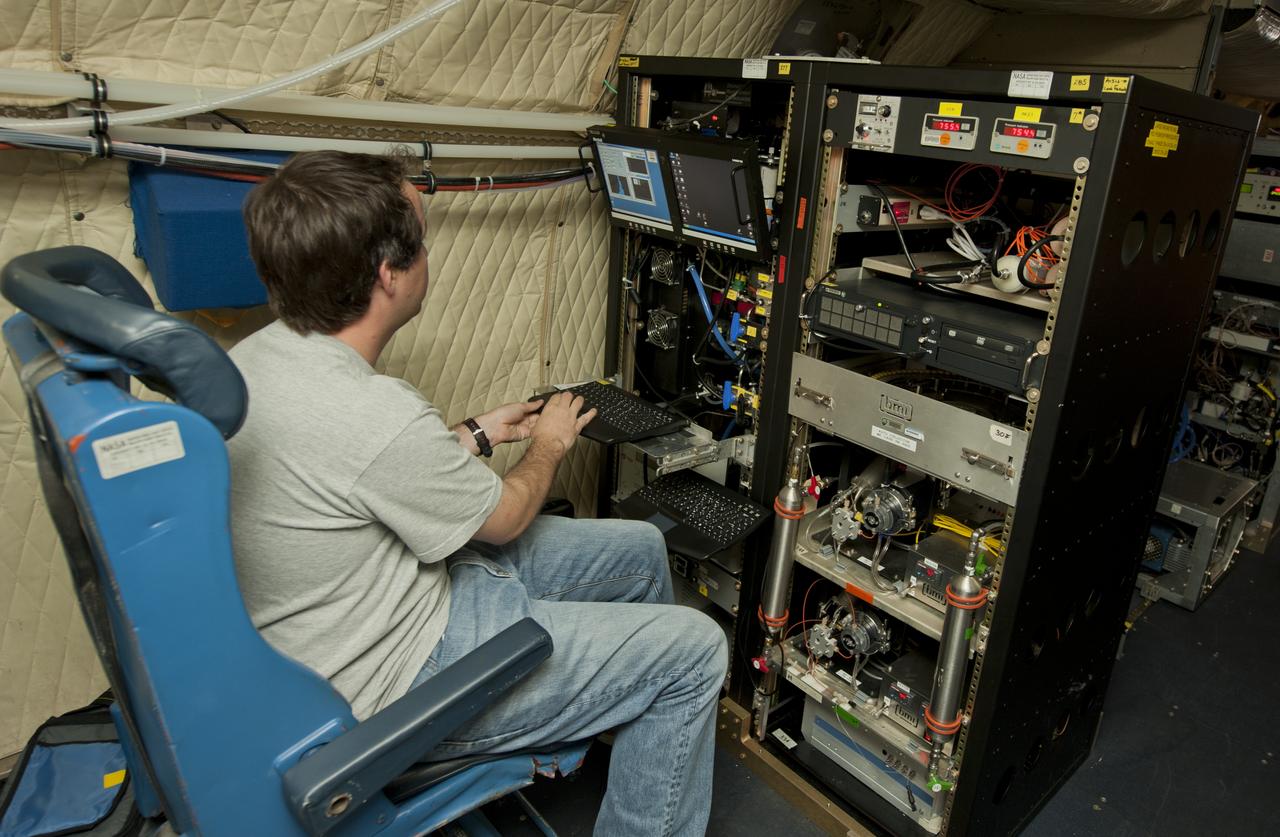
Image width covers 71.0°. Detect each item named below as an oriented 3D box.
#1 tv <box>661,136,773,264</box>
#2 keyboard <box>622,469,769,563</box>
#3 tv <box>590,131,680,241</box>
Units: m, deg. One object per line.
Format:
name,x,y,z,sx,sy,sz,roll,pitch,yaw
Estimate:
tv,0.221,-0.722,2.940,0.407,0.383,0.118,-1,-9,-35
keyboard,0.198,0.336,3.196,0.301,0.085,0.404,-29,32,-23
tv,-0.012,-0.838,3.205,0.332,0.496,0.054,17,54,25
